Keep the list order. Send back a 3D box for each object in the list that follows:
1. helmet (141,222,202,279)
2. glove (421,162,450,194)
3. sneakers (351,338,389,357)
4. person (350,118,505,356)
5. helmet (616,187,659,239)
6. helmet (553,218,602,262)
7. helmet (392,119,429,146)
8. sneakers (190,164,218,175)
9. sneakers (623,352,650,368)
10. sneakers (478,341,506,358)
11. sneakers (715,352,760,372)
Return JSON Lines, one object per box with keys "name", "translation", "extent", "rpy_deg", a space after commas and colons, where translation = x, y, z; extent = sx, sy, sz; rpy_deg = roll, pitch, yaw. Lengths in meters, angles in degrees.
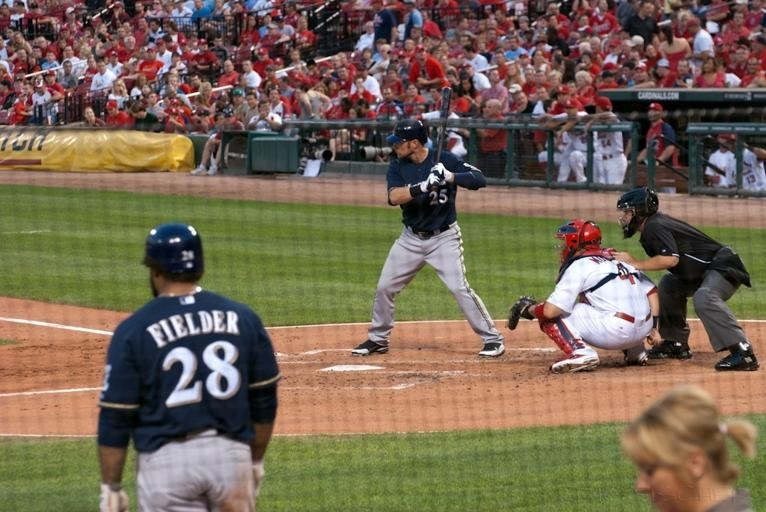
{"name": "helmet", "translation": [-2.015, -0.080, 14.031], "extent": [0.649, 0.406, 0.508], "rpy_deg": [5, 20, 16]}
{"name": "glove", "translation": [0.649, -0.948, 17.931], "extent": [0.376, 0.132, 0.372], "rpy_deg": [-37, 17, 40]}
{"name": "sneakers", "translation": [-0.160, 1.232, 18.739], "extent": [0.538, 0.184, 0.193], "rpy_deg": [1, 1, -15]}
{"name": "person", "translation": [0.570, -0.186, 18.391], "extent": [1.768, 3.086, 0.777], "rpy_deg": [-1, 8, 1]}
{"name": "helmet", "translation": [3.168, -0.542, 17.942], "extent": [0.570, 0.562, 0.471], "rpy_deg": [-5, 10, 16]}
{"name": "helmet", "translation": [2.492, -0.184, 18.029], "extent": [0.609, 0.469, 0.432], "rpy_deg": [-4, 1, 23]}
{"name": "helmet", "translation": [0.335, -1.565, 18.245], "extent": [0.438, 0.187, 0.288], "rpy_deg": [2, 17, 8]}
{"name": "sneakers", "translation": [-3.892, -1.850, 31.430], "extent": [0.702, 0.240, 0.230], "rpy_deg": [2, 4, 4]}
{"name": "sneakers", "translation": [3.190, 1.325, 18.175], "extent": [0.345, 0.137, 0.126], "rpy_deg": [-18, 19, 18]}
{"name": "sneakers", "translation": [1.409, 1.238, 18.570], "extent": [0.164, 0.127, 0.338], "rpy_deg": [1, 0, -30]}
{"name": "sneakers", "translation": [4.367, 1.322, 17.714], "extent": [0.624, 0.212, 0.207], "rpy_deg": [1, -1, -7]}
